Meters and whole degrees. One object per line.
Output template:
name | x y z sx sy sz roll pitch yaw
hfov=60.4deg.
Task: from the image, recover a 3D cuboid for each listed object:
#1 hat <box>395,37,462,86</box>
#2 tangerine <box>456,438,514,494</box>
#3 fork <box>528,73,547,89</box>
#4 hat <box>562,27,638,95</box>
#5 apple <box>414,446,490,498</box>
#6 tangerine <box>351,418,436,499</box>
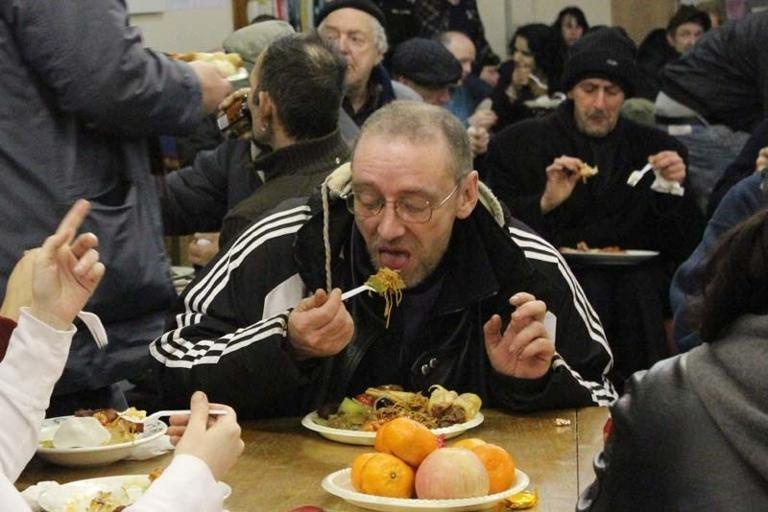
hat | 0.402 -1.913 6.449 0.558 0.286 0.444 10 39 7
tangerine | 0.336 0.683 2.189 0.148 0.100 0.156 20 21 29
fork | 1.575 -1.780 6.766 0.068 0.256 0.090 -27 16 51
hat | 1.990 -1.862 6.062 0.575 0.614 0.644 7 2 2
apple | 0.215 0.691 2.074 0.168 0.162 0.172 -3 -8 -5
tangerine | 0.034 0.679 2.182 0.164 0.164 0.122 31 6 -2
